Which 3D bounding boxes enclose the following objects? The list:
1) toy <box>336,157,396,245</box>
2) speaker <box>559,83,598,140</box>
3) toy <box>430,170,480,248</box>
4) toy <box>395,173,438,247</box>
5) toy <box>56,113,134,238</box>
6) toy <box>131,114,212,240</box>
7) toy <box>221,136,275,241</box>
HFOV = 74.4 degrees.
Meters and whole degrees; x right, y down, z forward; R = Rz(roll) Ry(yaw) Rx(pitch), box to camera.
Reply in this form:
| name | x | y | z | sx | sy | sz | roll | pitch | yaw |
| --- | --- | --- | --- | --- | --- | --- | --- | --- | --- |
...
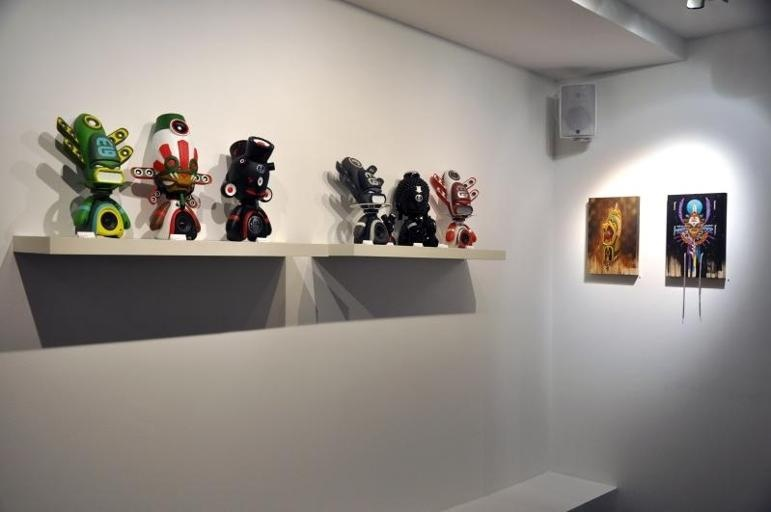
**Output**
| name | x | y | z | sx | sy | sz | roll | pitch | yaw |
| --- | --- | --- | --- | --- | --- | --- | --- | --- | --- |
| toy | -0.085 | -0.283 | 2.597 | 0.331 | 0.433 | 0.243 | 5 | 4 | 44 |
| speaker | 1.321 | -1.034 | 3.481 | 0.234 | 0.357 | 0.193 | 5 | 33 | 26 |
| toy | 0.398 | -0.254 | 2.933 | 0.316 | 0.480 | 0.241 | 0 | 1 | -38 |
| toy | 0.164 | -0.243 | 2.691 | 0.221 | 0.380 | 0.109 | 2 | 3 | 6 |
| toy | -1.158 | -0.317 | 2.023 | 0.260 | 0.481 | 0.238 | -1 | 4 | -35 |
| toy | -0.910 | -0.334 | 2.153 | 0.307 | 0.519 | 0.203 | 0 | 3 | -29 |
| toy | -0.614 | -0.294 | 2.259 | 0.219 | 0.454 | 0.084 | 1 | 3 | -16 |
